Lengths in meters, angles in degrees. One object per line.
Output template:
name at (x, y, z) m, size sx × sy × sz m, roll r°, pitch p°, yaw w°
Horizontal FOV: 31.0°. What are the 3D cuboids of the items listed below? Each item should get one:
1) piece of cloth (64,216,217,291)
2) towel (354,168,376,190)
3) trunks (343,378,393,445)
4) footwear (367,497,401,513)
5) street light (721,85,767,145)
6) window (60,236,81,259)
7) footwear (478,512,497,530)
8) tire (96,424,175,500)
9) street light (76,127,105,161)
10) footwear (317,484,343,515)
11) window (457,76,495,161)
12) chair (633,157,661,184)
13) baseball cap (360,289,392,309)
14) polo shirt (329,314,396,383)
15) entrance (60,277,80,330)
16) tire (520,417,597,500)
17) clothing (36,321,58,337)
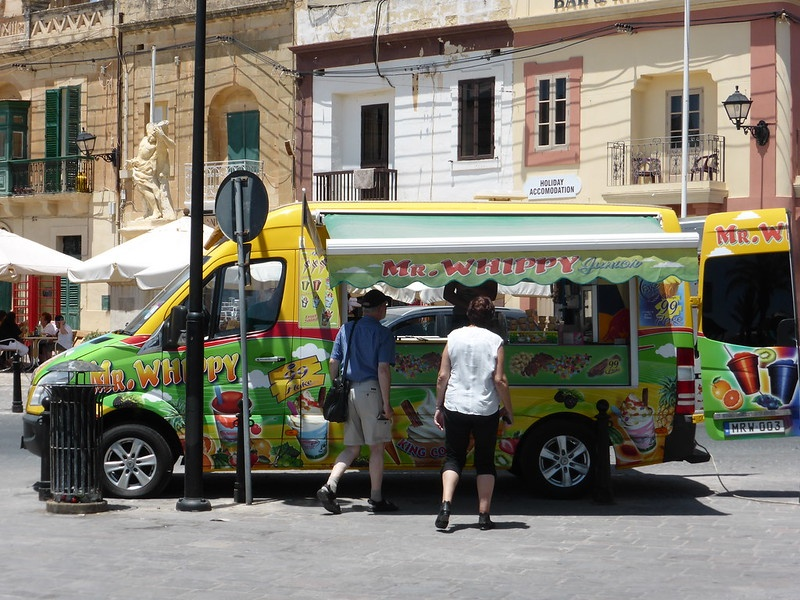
piece of cloth at (-5.007, -0.798, 27.510) m, size 2.012 × 0.929 × 2.122 m, roll -6°, pitch 7°, yaw 27°
towel at (-0.845, -2.927, 34.910) m, size 0.550 × 0.435 × 0.081 m, roll 3°, pitch 9°, yaw 34°
trunks at (-0.401, 1.406, 17.539) m, size 0.555 × 0.796 × 0.222 m, roll 0°, pitch 6°, yaw -3°
footwear at (-0.203, 2.542, 17.675) m, size 0.394 × 0.158 × 0.139 m, roll 1°, pitch -2°, yaw -14°
street light at (7.169, -3.814, 30.096) m, size 0.733 × 1.237 × 0.993 m, roll 6°, pitch 9°, yaw 42°
window at (-9.070, -1.446, 39.669) m, size 0.824 × 0.732 × 0.431 m, roll 0°, pitch 3°, yaw 10°
footwear at (1.022, 2.586, 16.847) m, size 0.226 × 0.196 × 0.211 m, roll -1°, pitch 7°, yaw -12°
tire at (-3.346, 2.023, 17.971) m, size 1.000 × 0.937 × 0.347 m, roll 3°, pitch 7°, yaw 1°
street light at (-8.652, -4.323, 39.658) m, size 0.773 × 1.023 × 0.801 m, roll -2°, pitch 3°, yaw 29°
footwear at (-0.910, 2.432, 17.517) m, size 0.186 × 0.451 × 0.223 m, roll -18°, pitch 31°, yaw 35°
window at (1.756, -4.196, 33.520) m, size 0.856 × 1.901 × 0.361 m, roll 2°, pitch 7°, yaw 11°
chair at (5.409, -2.802, 31.475) m, size 0.597 × 0.539 × 0.312 m, roll 0°, pitch -15°, yaw 6°
baseball cap at (-0.306, 0.002, 17.834) m, size 0.296 × 0.147 × 0.215 m, roll -12°, pitch 14°, yaw -42°
polo shirt at (-0.484, 0.629, 17.623) m, size 0.877 × 0.773 × 0.427 m, roll 3°, pitch 3°, yaw 27°
entrance at (-8.797, 0.135, 38.444) m, size 0.266 × 1.542 × 1.481 m, roll 2°, pitch -2°, yaw -38°
tire at (1.994, 1.945, 18.078) m, size 0.886 × 0.842 × 0.280 m, roll -18°, pitch -4°, yaw -4°
clothing at (-8.469, 0.710, 34.593) m, size 0.447 × 0.312 × 0.242 m, roll -1°, pitch -10°, yaw 19°
